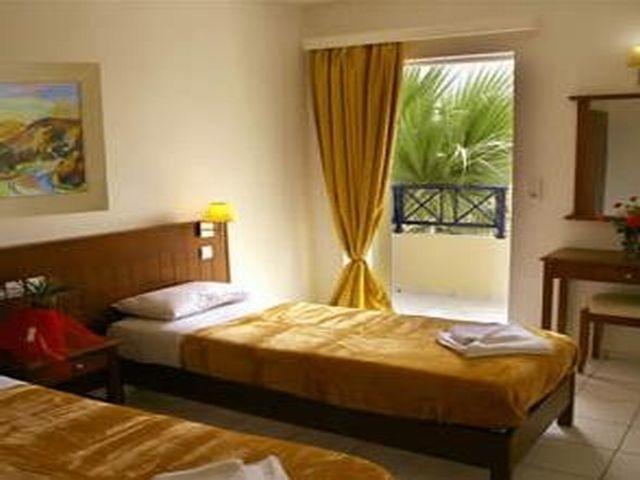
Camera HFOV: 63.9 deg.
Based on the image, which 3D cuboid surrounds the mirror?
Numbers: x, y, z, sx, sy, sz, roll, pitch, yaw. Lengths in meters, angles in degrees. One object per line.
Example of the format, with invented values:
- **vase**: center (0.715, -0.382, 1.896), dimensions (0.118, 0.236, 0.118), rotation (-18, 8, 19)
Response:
- **mirror**: center (2.203, -0.656, 4.094), dimensions (0.479, 0.999, 0.212), rotation (4, 13, 20)

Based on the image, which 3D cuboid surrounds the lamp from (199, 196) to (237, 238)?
- **lamp**: center (-0.825, -0.200, 4.107), dimensions (0.255, 0.203, 0.282), rotation (-4, 11, -16)

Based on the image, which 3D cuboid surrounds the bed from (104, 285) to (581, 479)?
- **bed**: center (-0.016, 0.680, 3.012), dimensions (2.339, 0.596, 1.150), rotation (2, 6, 27)
